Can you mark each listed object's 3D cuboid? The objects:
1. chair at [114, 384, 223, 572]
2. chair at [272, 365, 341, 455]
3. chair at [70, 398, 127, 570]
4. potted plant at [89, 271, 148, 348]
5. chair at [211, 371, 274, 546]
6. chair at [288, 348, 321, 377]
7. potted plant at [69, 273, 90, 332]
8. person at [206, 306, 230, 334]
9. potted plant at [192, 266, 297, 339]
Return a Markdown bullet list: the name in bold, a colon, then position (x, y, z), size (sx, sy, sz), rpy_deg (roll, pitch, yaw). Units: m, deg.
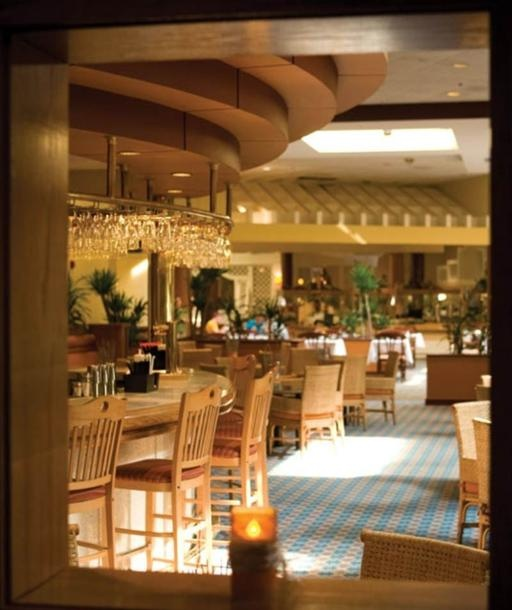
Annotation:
- **chair**: position (-0.428, 0.903, 3.293), size (0.393, 1.015, 0.399), rpy_deg (1, -1, 19)
- **chair**: position (0.478, 1.019, 6.637), size (0.727, 0.908, 1.156), rpy_deg (0, 0, -4)
- **chair**: position (-0.672, 0.785, 2.872), size (0.224, 0.822, 0.521), rpy_deg (0, 0, -12)
- **potted plant**: position (-2.706, 0.030, 13.058), size (1.380, 2.074, 1.254), rpy_deg (1, -3, -14)
- **chair**: position (-0.202, 0.820, 3.975), size (0.473, 0.831, 0.488), rpy_deg (4, 8, 14)
- **chair**: position (0.588, 0.704, 8.230), size (0.301, 0.344, 0.331), rpy_deg (0, 1, 10)
- **potted plant**: position (-3.583, -0.040, 13.547), size (0.350, 1.152, 1.762), rpy_deg (0, 0, -14)
- **person**: position (-0.779, 0.380, 13.989), size (0.423, 0.836, 0.471), rpy_deg (-7, 12, -25)
- **potted plant**: position (-0.435, 0.277, 14.504), size (1.806, 1.611, 1.705), rpy_deg (1, 4, 2)
